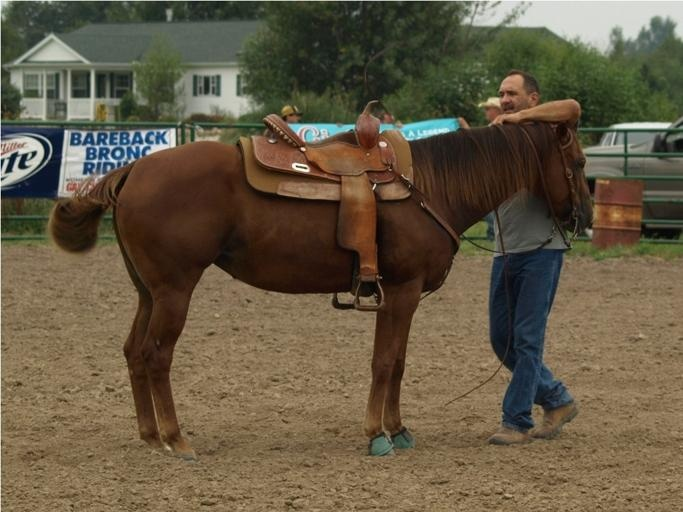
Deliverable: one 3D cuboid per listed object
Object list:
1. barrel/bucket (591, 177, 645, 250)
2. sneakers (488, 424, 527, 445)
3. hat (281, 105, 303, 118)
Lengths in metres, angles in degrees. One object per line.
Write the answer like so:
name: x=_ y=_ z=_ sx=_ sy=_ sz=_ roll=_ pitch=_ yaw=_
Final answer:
barrel/bucket: x=4.141 y=-0.653 z=18.330 sx=0.752 sy=1.020 sz=0.363 roll=-2 pitch=-4 yaw=8
sneakers: x=1.687 y=1.810 z=12.371 sx=0.341 sy=0.140 sz=0.169 roll=4 pitch=-3 yaw=-15
hat: x=-0.777 y=-2.151 z=18.066 sx=0.386 sy=0.166 sz=0.543 roll=-2 pitch=1 yaw=-3
